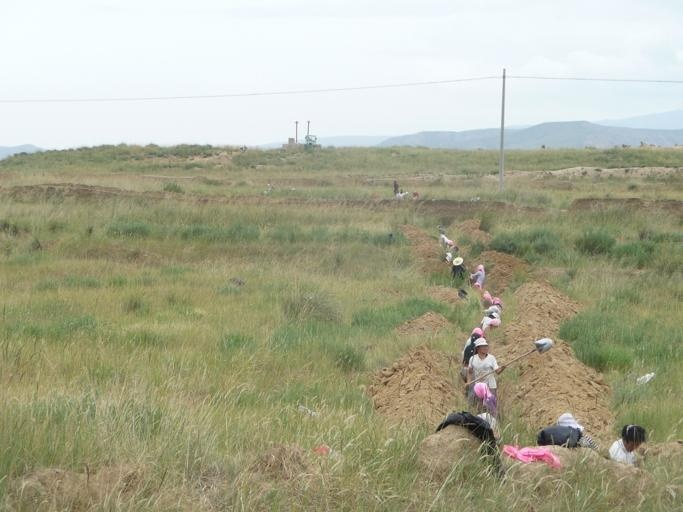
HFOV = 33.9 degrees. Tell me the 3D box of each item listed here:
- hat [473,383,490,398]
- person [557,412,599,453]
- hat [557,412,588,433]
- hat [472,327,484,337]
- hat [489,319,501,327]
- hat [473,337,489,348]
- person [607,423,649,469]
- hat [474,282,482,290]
[{"bbox_3d":[3.326,3.211,26.781,0.262,0.354,0.343,8,16,39],"label":"hat"},{"bbox_3d":[5.485,4.002,25.711,0.854,0.740,1.036,-8,8,-43],"label":"person"},{"bbox_3d":[5.281,3.801,25.768,0.517,0.342,0.400,21,15,28],"label":"hat"},{"bbox_3d":[3.441,1.979,28.196,0.179,0.232,0.252,12,19,25],"label":"hat"},{"bbox_3d":[4.058,1.819,29.913,0.249,0.128,0.193,4,7,36],"label":"hat"},{"bbox_3d":[3.386,2.125,27.257,0.298,0.256,0.551,-2,6,6],"label":"hat"},{"bbox_3d":[6.471,4.237,25.393,0.624,1.070,0.925,5,14,8],"label":"person"},{"bbox_3d":[4.085,0.912,33.698,0.157,0.101,0.178,0,22,2],"label":"hat"}]
